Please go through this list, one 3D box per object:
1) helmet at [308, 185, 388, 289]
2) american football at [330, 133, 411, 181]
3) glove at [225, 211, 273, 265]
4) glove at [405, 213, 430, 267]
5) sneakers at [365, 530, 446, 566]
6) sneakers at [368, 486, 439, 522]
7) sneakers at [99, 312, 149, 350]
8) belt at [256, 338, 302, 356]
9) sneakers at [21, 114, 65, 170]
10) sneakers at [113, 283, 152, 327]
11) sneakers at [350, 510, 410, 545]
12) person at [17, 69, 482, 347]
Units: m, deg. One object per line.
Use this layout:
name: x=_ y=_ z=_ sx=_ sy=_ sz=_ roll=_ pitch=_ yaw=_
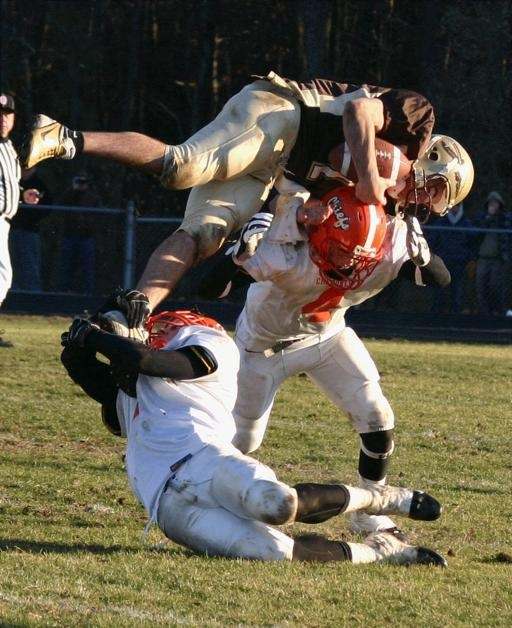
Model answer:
helmet: x=0.381 y=-0.326 z=4.230 sx=0.331 sy=0.445 sz=0.396 roll=6 pitch=5 yaw=6
american football: x=0.487 y=-0.668 z=4.237 sx=0.333 sy=0.149 sz=0.183 roll=4 pitch=2 yaw=7
glove: x=-0.027 y=-0.347 z=4.473 sx=0.133 sy=0.231 sz=0.224 roll=51 pitch=1 yaw=-8
glove: x=0.698 y=-0.330 z=4.330 sx=0.090 sy=0.189 sz=0.131 roll=-17 pitch=-6 yaw=15
sneakers: x=0.624 y=0.963 z=4.037 sx=0.361 sy=0.112 sz=0.101 roll=18 pitch=30 yaw=-4
sneakers: x=0.618 y=0.790 z=4.209 sx=0.308 sy=0.095 sz=0.131 roll=8 pitch=17 yaw=-1
sneakers: x=-0.501 y=0.055 z=3.934 sx=0.136 sy=0.146 sz=0.181 roll=39 pitch=15 yaw=22
belt: x=0.118 y=0.145 z=4.728 sx=0.137 sy=0.031 sz=0.087 roll=-19 pitch=2 yaw=2
sneakers: x=-0.853 y=-0.701 z=3.951 sx=0.165 sy=0.255 sz=0.098 roll=16 pitch=-32 yaw=-1
sneakers: x=-0.529 y=-0.039 z=3.909 sx=0.156 sy=0.161 sz=0.202 roll=3 pitch=-3 yaw=44
sneakers: x=0.547 y=0.952 z=4.534 sx=0.192 sy=0.058 sz=0.175 roll=12 pitch=5 yaw=20
person: x=0.061 y=-0.607 z=4.494 sx=2.185 sy=0.882 sz=0.912 roll=-1 pitch=8 yaw=-10
